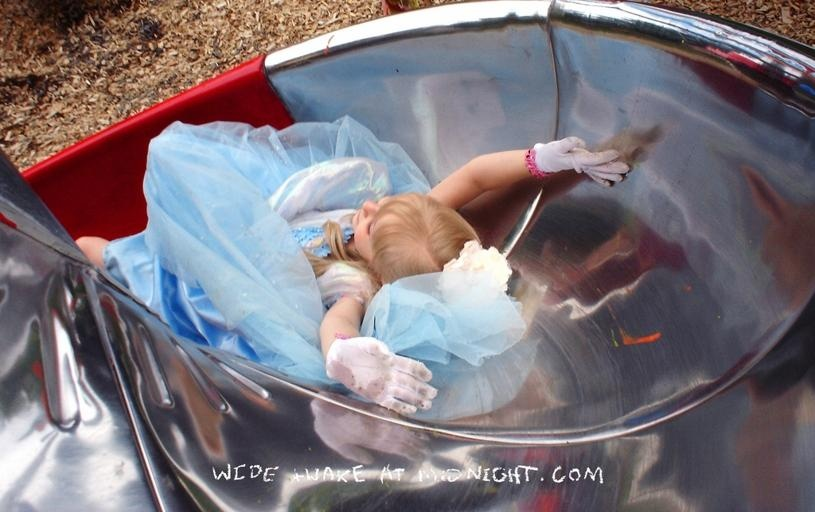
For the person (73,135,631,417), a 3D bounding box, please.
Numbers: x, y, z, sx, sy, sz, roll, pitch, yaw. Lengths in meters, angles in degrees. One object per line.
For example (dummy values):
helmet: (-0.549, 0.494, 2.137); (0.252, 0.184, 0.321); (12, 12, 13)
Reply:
person: (-0.005, 0.042, 1.550); (0.812, 0.330, 0.817); (9, 52, 19)
